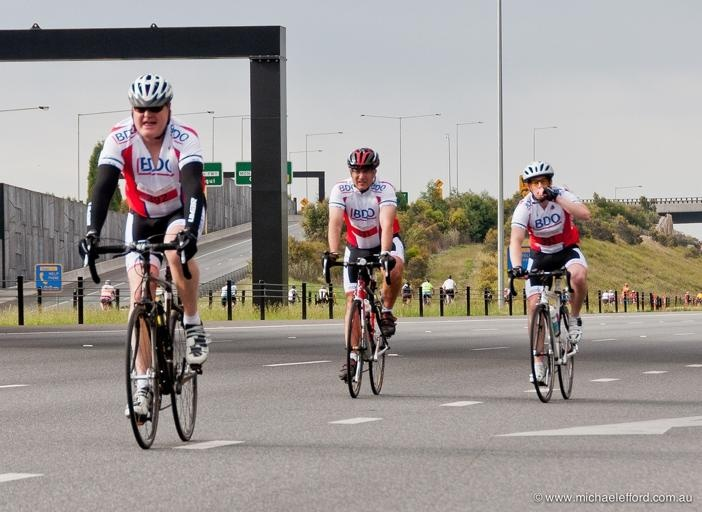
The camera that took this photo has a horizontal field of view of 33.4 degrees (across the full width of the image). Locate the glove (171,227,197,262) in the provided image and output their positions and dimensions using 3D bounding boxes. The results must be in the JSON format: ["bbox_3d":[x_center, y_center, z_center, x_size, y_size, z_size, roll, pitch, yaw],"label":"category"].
[{"bbox_3d":[-1.399,-0.109,9.992,0.187,0.273,0.094,6,18,27],"label":"glove"}]

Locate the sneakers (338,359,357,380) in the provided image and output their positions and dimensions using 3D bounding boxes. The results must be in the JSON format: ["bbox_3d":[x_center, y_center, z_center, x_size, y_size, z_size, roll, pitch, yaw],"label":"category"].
[{"bbox_3d":[-0.031,1.287,13.026,0.114,0.147,0.332,-3,-3,9],"label":"sneakers"}]

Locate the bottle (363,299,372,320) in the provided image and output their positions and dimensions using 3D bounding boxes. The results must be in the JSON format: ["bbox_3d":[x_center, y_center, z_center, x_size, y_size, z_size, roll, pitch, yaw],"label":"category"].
[{"bbox_3d":[0.185,0.601,13.213,0.081,0.187,0.310,-1,4,5],"label":"bottle"}]

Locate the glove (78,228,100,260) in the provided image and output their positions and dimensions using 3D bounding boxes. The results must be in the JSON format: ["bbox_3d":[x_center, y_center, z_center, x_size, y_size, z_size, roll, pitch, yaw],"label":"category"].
[{"bbox_3d":[-2.226,-0.078,10.003,0.132,0.343,0.119,-10,-18,44],"label":"glove"}]

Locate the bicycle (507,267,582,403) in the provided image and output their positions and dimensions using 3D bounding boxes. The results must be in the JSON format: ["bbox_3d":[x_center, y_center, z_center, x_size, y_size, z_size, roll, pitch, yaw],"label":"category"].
[{"bbox_3d":[2.231,0.893,13.163,0.538,1.559,1.298,0,4,27],"label":"bicycle"}]

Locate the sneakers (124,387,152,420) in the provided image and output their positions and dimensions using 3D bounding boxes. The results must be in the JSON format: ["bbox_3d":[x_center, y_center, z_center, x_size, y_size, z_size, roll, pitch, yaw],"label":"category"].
[{"bbox_3d":[-1.785,1.276,9.953,0.106,0.281,0.293,1,4,38],"label":"sneakers"}]

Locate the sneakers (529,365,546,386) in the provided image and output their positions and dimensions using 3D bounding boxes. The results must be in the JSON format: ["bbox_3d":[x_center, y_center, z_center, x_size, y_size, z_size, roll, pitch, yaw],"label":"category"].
[{"bbox_3d":[2.046,1.328,12.788,0.165,0.245,0.070,5,-7,-4],"label":"sneakers"}]

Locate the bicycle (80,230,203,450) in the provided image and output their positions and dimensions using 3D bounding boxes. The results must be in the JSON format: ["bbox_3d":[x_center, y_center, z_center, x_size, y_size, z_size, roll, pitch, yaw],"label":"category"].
[{"bbox_3d":[-1.762,0.763,10.381,0.876,1.951,1.289,-1,3,4],"label":"bicycle"}]

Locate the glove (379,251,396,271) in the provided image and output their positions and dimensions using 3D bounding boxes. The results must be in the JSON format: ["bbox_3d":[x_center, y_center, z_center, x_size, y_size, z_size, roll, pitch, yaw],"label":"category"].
[{"bbox_3d":[0.396,0.061,12.983,0.156,0.103,0.196,13,-35,18],"label":"glove"}]

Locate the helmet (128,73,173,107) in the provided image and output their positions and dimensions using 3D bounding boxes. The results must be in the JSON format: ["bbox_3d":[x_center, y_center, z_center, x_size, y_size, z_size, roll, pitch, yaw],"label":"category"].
[{"bbox_3d":[-1.782,-1.466,10.449,0.363,0.289,0.224,-2,4,-16],"label":"helmet"}]

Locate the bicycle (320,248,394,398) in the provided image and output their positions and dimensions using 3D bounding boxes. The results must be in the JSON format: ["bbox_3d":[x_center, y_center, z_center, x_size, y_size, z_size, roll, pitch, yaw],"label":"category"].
[{"bbox_3d":[0.172,0.812,13.201,0.709,1.731,1.152,1,4,36],"label":"bicycle"}]

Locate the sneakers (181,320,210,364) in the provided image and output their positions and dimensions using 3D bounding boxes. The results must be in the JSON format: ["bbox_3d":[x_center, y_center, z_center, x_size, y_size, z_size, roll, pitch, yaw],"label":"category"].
[{"bbox_3d":[-1.428,0.755,10.781,0.143,0.458,0.178,-10,-33,-10],"label":"sneakers"}]
